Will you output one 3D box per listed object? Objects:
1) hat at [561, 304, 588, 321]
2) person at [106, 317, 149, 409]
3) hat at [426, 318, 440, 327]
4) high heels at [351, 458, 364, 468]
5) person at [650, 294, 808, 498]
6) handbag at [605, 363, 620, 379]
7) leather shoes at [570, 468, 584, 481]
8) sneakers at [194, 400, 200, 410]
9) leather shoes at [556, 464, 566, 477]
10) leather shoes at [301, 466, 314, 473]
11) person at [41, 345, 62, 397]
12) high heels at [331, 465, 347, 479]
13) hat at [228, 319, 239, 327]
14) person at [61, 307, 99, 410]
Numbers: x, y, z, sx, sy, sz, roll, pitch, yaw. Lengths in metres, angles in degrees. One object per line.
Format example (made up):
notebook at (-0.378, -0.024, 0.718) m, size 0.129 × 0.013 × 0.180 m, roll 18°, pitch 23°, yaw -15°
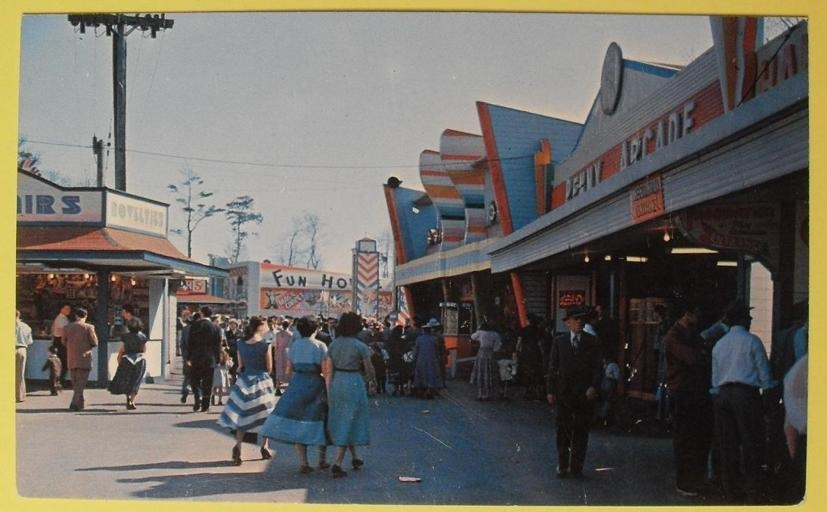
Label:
hat at (2.357, 0.819, 13.561) m, size 0.474 × 0.180 × 0.530 m, roll -14°, pitch -11°, yaw 8°
person at (-5.130, 1.943, 16.788) m, size 0.587 × 1.638 × 0.876 m, roll 5°, pitch -10°, yaw -16°
hat at (0.428, 1.460, 20.418) m, size 0.256 × 0.113 × 0.308 m, roll 2°, pitch -2°, yaw 2°
high heels at (-0.829, 3.042, 13.605) m, size 0.190 × 0.119 × 0.102 m, roll -5°, pitch 7°, yaw -44°
person at (4.195, 1.990, 12.595) m, size 1.429 × 2.593 × 0.918 m, roll -3°, pitch -11°, yaw 24°
handbag at (3.403, 1.962, 15.767) m, size 0.295 × 0.272 × 0.223 m, roll 1°, pitch -4°, yaw 44°
leather shoes at (2.342, 3.143, 13.314) m, size 0.169 × 0.152 × 0.295 m, roll -3°, pitch -7°, yaw 24°
sneakers at (-3.787, 2.629, 16.316) m, size 0.062 × 0.164 × 0.115 m, roll 16°, pitch -4°, yaw -9°
leather shoes at (2.084, 3.125, 13.388) m, size 0.148 × 0.174 × 0.186 m, roll 3°, pitch -11°, yaw -27°
leather shoes at (-1.537, 3.090, 13.410) m, size 0.178 × 0.115 × 0.074 m, roll 4°, pitch -10°, yaw -14°
person at (-6.872, 2.193, 17.757) m, size 0.342 × 0.951 × 0.899 m, roll 6°, pitch -11°, yaw -21°
high heels at (-1.072, 3.088, 13.259) m, size 0.109 × 0.125 × 0.307 m, roll 4°, pitch 0°, yaw 24°
hat at (-3.633, 1.357, 18.917) m, size 0.130 × 0.119 × 0.161 m, roll 4°, pitch -11°, yaw -38°
person at (-6.023, 1.838, 16.716) m, size 0.557 × 1.883 × 1.315 m, roll 6°, pitch -11°, yaw -19°
